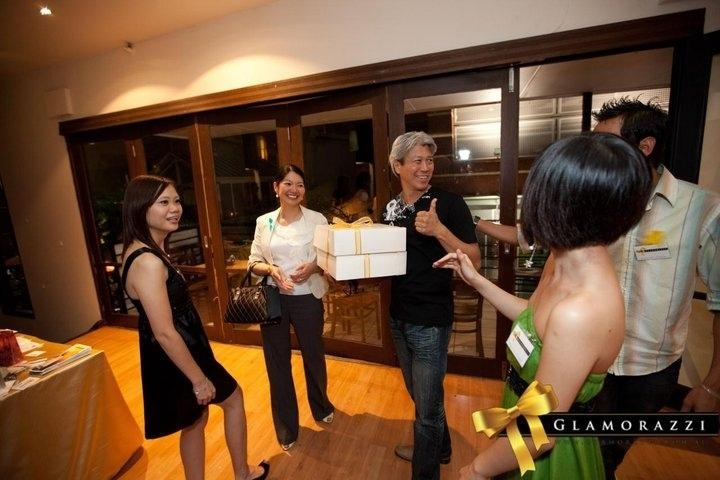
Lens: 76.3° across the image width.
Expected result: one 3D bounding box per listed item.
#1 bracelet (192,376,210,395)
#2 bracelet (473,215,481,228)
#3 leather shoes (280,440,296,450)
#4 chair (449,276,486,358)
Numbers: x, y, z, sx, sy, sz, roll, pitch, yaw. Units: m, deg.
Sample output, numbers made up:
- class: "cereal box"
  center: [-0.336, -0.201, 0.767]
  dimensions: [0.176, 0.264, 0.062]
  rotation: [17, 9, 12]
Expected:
- class: "bracelet"
  center: [-1.054, 0.950, 2.998]
  dimensions: [0.131, 0.096, 0.057]
  rotation: [4, 44, 47]
- class: "bracelet"
  center: [0.830, -0.136, 3.260]
  dimensions: [0.061, 0.084, 0.033]
  rotation: [-3, -16, 12]
- class: "leather shoes"
  center: [-0.550, 1.573, 3.490]
  dimensions: [0.115, 0.046, 0.042]
  rotation: [-13, 16, -35]
- class: "chair"
  center: [0.950, 0.747, 4.149]
  dimensions: [0.361, 0.570, 0.375]
  rotation: [-3, -13, 30]
